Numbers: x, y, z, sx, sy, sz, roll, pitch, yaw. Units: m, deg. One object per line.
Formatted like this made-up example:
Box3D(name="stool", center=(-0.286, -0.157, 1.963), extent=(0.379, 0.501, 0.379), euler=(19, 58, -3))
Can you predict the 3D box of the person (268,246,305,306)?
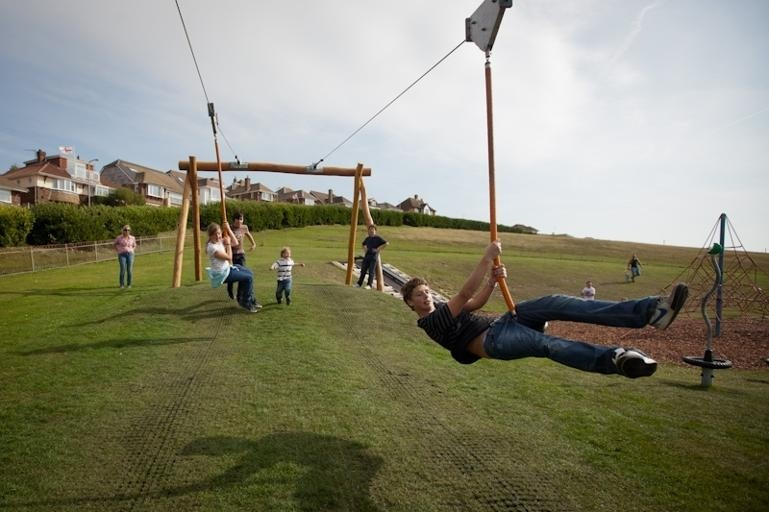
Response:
Box3D(name="person", center=(-3.051, 0.340, 13.449), extent=(0.638, 1.584, 2.058), euler=(1, 13, -14))
